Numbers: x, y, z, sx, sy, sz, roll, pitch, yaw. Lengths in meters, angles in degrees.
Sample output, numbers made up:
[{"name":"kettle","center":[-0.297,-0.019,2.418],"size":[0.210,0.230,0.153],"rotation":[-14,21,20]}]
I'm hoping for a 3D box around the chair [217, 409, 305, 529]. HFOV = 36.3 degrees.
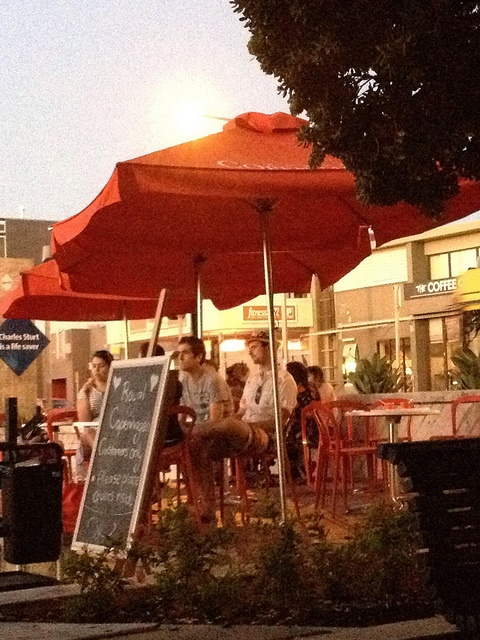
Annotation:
[{"name":"chair","center":[0.122,1.203,6.322],"size":[0.479,0.551,0.469],"rotation":[-4,-10,-23]}]
